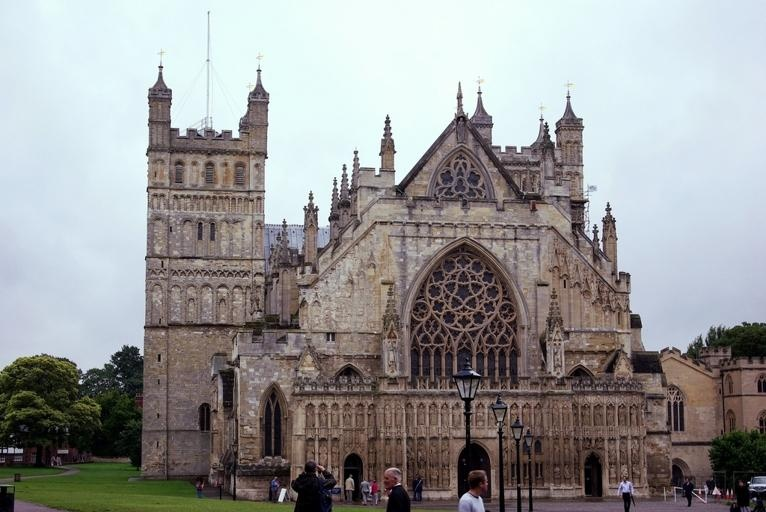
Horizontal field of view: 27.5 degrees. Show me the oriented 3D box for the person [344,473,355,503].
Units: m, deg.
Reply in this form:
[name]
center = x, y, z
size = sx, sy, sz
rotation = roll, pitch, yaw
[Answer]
[person]
center = -2.622, 18.123, 121.115
size = 0.714, 2.245, 1.206
rotation = 1, -16, -2
